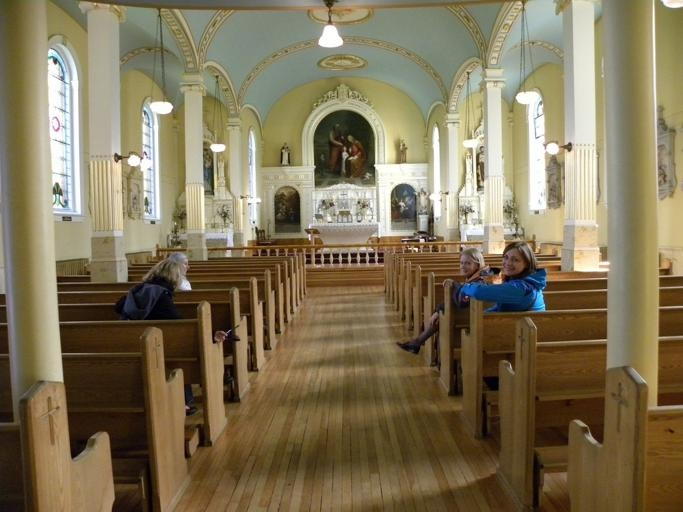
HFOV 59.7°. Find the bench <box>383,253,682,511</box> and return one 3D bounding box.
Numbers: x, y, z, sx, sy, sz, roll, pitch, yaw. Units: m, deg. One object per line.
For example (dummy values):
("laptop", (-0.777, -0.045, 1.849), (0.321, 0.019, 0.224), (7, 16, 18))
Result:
("bench", (1.630, 0.868, 4.531), (1.232, 1.215, 1.617), (-3, 10, -9))

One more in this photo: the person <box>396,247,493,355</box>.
("person", (1.072, 0.511, 6.378), (1.133, 0.892, 0.454), (-2, 7, -15))

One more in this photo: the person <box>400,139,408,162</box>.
("person", (2.328, -3.840, 21.847), (0.275, 0.828, 0.317), (-1, 10, 2))

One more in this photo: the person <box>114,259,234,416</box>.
("person", (-1.337, 0.689, 4.800), (1.194, 0.839, 0.462), (0, 10, 5))

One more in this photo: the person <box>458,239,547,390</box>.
("person", (1.356, 0.437, 4.951), (0.614, 1.032, 0.461), (7, 9, 9))
